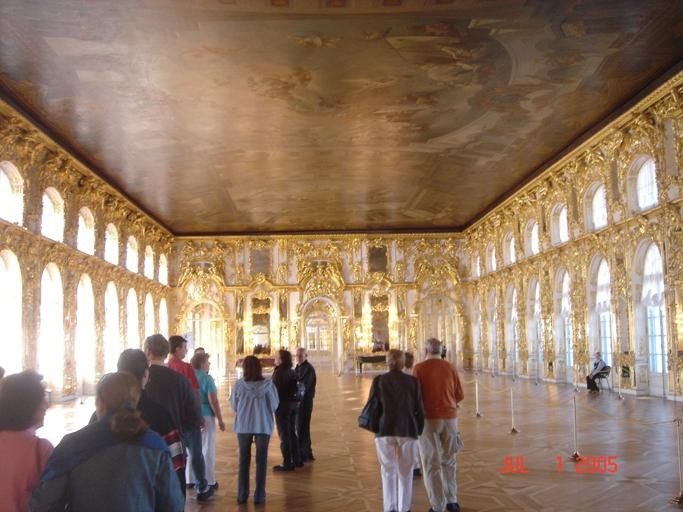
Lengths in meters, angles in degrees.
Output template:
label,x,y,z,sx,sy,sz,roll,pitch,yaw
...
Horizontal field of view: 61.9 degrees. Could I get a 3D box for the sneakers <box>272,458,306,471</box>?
label,x,y,z,sx,sy,sz,roll,pitch,yaw
sneakers,-0.885,3.519,9.608,0.539,0.213,0.180,3,-3,7

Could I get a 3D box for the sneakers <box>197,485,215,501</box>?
label,x,y,z,sx,sy,sz,roll,pitch,yaw
sneakers,-1.927,3.363,8.179,0.120,0.129,0.320,3,2,17

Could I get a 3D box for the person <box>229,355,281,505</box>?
label,x,y,z,sx,sy,sz,roll,pitch,yaw
person,-1.234,2.414,8.130,0.659,1.979,0.564,0,-8,-11

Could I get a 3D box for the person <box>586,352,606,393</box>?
label,x,y,z,sx,sy,sz,roll,pitch,yaw
person,8.677,3.878,19.338,0.678,1.249,1.229,-5,-9,23
